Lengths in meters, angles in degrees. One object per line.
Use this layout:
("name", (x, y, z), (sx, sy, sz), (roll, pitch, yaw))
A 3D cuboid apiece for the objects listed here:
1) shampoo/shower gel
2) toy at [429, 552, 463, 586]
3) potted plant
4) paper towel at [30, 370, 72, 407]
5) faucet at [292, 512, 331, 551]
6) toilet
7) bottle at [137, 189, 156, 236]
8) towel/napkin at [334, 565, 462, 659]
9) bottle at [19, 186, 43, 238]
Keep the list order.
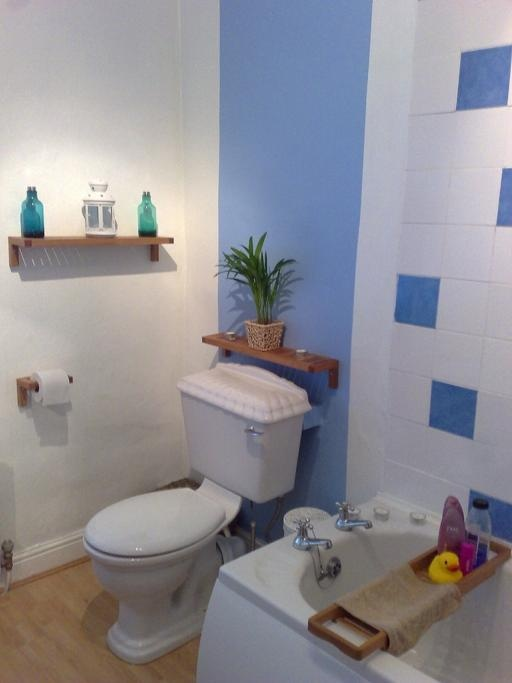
("shampoo/shower gel", (0.483, 0.434, 1.178), (0.108, 0.216, 0.069), (1, -5, 14))
("toy", (0.404, 0.485, 1.091), (0.042, 0.084, 0.074), (1, -6, -12))
("potted plant", (0.007, -0.164, 1.762), (0.242, 0.390, 0.249), (-3, 3, 39))
("paper towel", (-0.706, 0.129, 1.774), (0.127, 0.141, 0.103), (-6, 18, -43))
("faucet", (0.137, 0.449, 1.238), (0.048, 0.080, 0.095), (-2, 2, -34))
("toilet", (-0.239, 0.560, 1.742), (0.620, 0.917, 0.427), (-4, 18, -37))
("bottle", (-0.419, -0.517, 1.982), (0.070, 0.207, 0.075), (5, 51, -6))
("towel/napkin", (0.275, 0.427, 0.950), (0.132, 0.076, 0.218), (5, 14, 43))
("bottle", (-0.741, -0.415, 1.700), (0.078, 0.180, 0.156), (-3, 0, -23))
